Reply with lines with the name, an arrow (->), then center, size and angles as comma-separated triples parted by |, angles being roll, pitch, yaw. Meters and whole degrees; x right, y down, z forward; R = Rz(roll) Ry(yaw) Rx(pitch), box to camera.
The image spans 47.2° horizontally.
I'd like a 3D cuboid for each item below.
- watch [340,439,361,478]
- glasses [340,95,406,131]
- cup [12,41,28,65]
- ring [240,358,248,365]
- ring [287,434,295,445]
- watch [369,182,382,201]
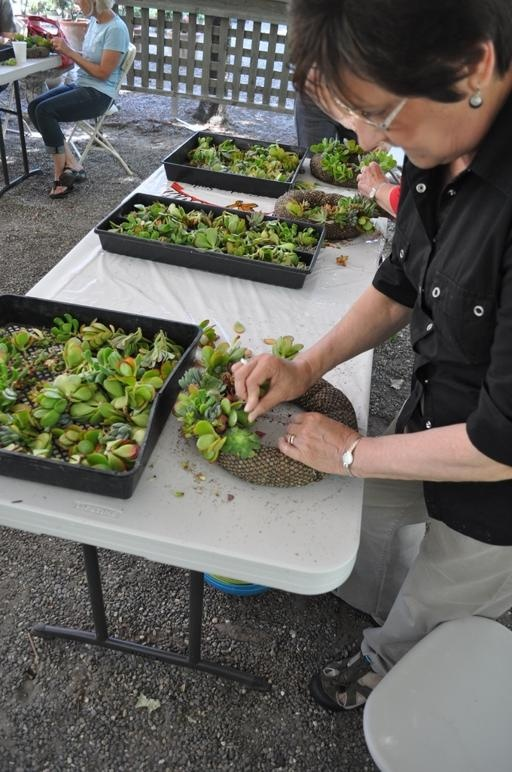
watch -> 0.149, 0.116, 0.941 | 0.020, 0.046, 0.042 | 10, 57, 12
glasses -> 0.145, -0.322, 0.690 | 0.045, 0.012, 0.043 | -7, 64, -23
cup -> -1.436, -2.022, 3.567 | 0.071, 0.123, 0.105 | -9, 33, -17
ring -> -0.025, -0.049, 1.206 | 0.020, 0.007, 0.020 | 4, 27, -2
ring -> 0.059, 0.091, 0.991 | 0.014, 0.014, 0.014 | 10, 24, -4
watch -> 0.413, -0.679, 2.056 | 0.040, 0.055, 0.061 | 16, 9, -4
